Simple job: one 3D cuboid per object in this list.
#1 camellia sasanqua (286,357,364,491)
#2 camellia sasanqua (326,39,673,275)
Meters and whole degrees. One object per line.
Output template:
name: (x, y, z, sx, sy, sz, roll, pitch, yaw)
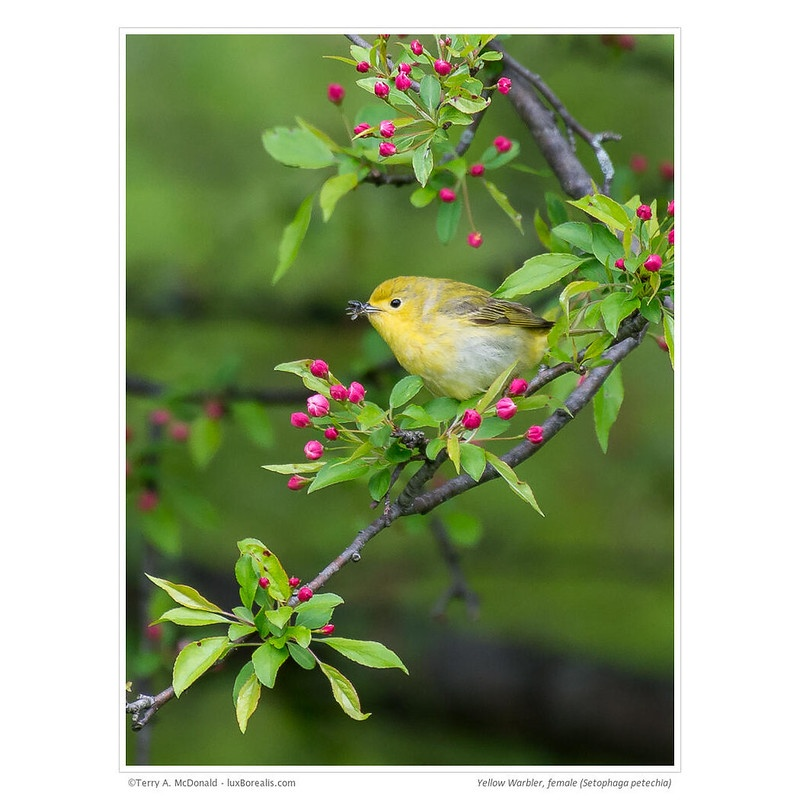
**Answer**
camellia sasanqua: (-0.225, 0.089, 3.273, 0.239, 0.400, 0.138, 0, -6, 23)
camellia sasanqua: (0.334, -0.862, 4.050, 0.718, 0.776, 1.239, 1, 9, -12)
